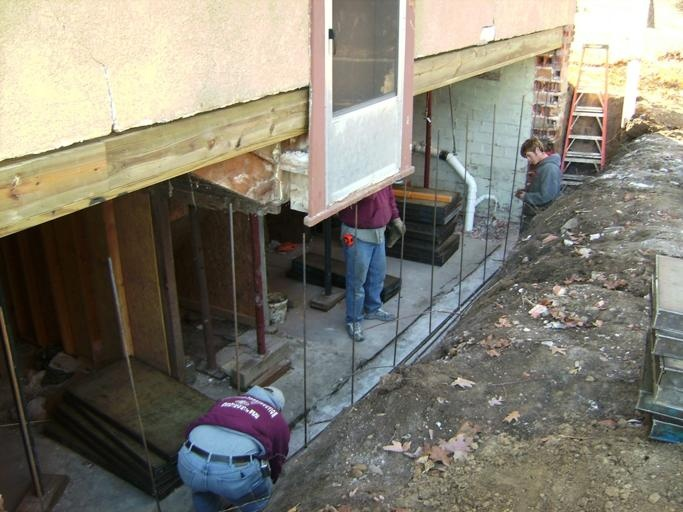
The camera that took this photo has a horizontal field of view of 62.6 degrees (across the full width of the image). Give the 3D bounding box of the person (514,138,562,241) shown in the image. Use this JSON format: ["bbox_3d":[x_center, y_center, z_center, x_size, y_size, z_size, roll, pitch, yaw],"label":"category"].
[{"bbox_3d":[3.228,-1.124,9.212,0.659,1.928,0.818,5,60,10],"label":"person"}]

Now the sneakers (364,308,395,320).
[{"bbox_3d":[0.529,0.803,7.774,0.470,0.188,0.157,0,22,3],"label":"sneakers"}]

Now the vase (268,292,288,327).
[{"bbox_3d":[-0.833,0.709,7.479,0.364,0.325,0.371,1,24,4],"label":"vase"}]

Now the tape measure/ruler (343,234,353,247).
[{"bbox_3d":[0.081,-0.204,6.943,0.076,0.127,0.105,-25,39,-37],"label":"tape measure/ruler"}]

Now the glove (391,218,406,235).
[{"bbox_3d":[0.804,-0.421,7.554,0.089,0.236,0.180,-31,24,-20],"label":"glove"}]

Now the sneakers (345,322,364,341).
[{"bbox_3d":[0.173,0.973,7.274,0.142,0.117,0.309,-11,22,-25],"label":"sneakers"}]

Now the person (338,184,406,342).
[{"bbox_3d":[0.329,0.061,7.211,0.673,1.965,1.252,18,36,27],"label":"person"}]

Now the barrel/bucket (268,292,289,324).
[{"bbox_3d":[-0.834,0.696,7.467,0.360,0.281,0.358,0,19,0],"label":"barrel/bucket"}]
